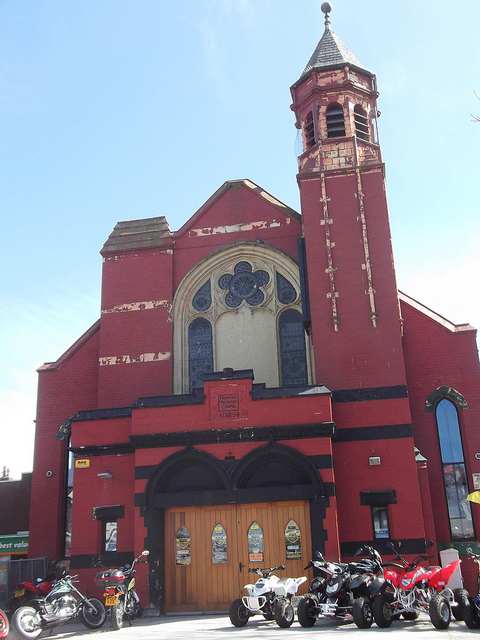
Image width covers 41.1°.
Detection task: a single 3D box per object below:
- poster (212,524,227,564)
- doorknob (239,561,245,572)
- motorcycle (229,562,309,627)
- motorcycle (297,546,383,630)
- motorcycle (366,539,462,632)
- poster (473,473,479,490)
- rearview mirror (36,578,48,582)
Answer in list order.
[{"bbox_3d":[-0.510,5.525,15.808,0.397,0.883,0.113,-5,-23,3],"label":"poster"},{"bbox_3d":[0.020,5.974,15.493,0.124,0.199,0.076,-14,-25,24],"label":"doorknob"},{"bbox_3d":[0.640,5.399,12.628,1.176,0.943,1.748,-8,-17,20],"label":"motorcycle"},{"bbox_3d":[2.138,5.078,12.092,1.357,1.297,2.191,-18,-28,33],"label":"motorcycle"},{"bbox_3d":[3.117,5.005,12.137,1.707,1.624,2.563,-12,-29,24],"label":"motorcycle"},{"bbox_3d":[6.492,4.449,17.639,0.186,0.390,0.114,-11,-24,16],"label":"poster"},{"bbox_3d":[-4.088,5.388,13.278,0.122,0.051,0.196,-20,-50,35],"label":"rearview mirror"}]
